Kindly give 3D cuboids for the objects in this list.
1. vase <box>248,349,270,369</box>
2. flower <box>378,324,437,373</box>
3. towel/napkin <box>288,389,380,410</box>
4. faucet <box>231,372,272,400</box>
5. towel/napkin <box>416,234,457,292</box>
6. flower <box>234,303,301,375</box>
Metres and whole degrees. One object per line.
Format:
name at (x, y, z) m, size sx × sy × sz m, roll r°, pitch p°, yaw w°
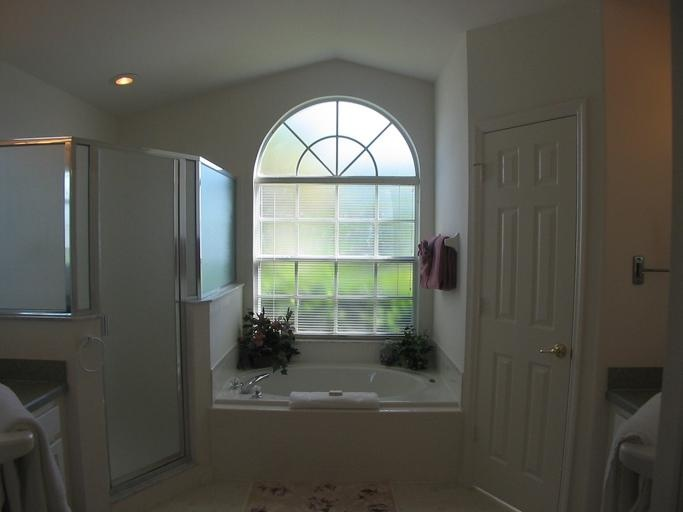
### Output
vase at (-0.737, 0.882, 4.688) m, size 0.215 × 0.182 × 0.124 m, roll 1°, pitch -5°, yaw -20°
flower at (0.605, 0.860, 4.750) m, size 0.357 × 0.287 × 0.387 m, roll 2°, pitch 4°, yaw 13°
towel/napkin at (-0.048, 1.099, 3.975) m, size 0.474 × 0.079 × 0.263 m, roll 0°, pitch -1°, yaw 0°
faucet at (-0.762, 1.068, 4.271) m, size 0.122 × 0.168 × 0.380 m, roll 2°, pitch -4°, yaw -36°
towel/napkin at (0.800, 0.051, 4.297) m, size 0.191 × 0.435 × 0.496 m, roll 4°, pitch -2°, yaw -15°
flower at (-0.652, 0.751, 4.827) m, size 0.427 × 0.469 × 0.316 m, roll -4°, pitch -7°, yaw 6°
